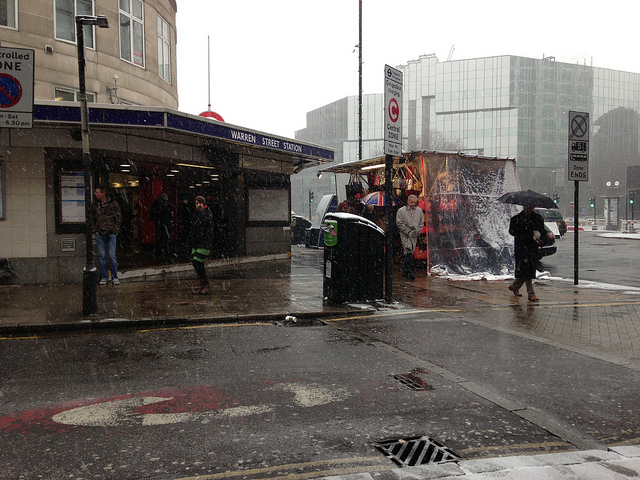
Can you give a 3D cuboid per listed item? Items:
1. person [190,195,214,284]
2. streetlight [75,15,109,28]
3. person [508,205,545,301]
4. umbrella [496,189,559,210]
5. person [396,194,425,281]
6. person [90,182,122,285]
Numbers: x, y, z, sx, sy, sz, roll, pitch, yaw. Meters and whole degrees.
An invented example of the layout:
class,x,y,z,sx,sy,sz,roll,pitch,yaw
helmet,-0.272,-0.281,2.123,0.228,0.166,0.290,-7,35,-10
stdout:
class,x,y,z,sx,sy,sz,roll,pitch,yaw
person,-2.478,0.015,13.516,0.442,1.835,0.593,-2,8,-13
streetlight,-4.025,-3.839,11.379,0.574,0.272,0.557,-3,9,-12
person,4.117,0.284,12.996,0.665,1.874,1.013,3,9,20
umbrella,4.464,-0.827,13.982,1.070,0.418,1.906,2,9,12
person,2.219,-0.047,15.862,0.642,2.059,0.704,-1,8,-8
person,-4.855,-0.083,14.674,0.613,2.182,0.463,-3,8,-20
